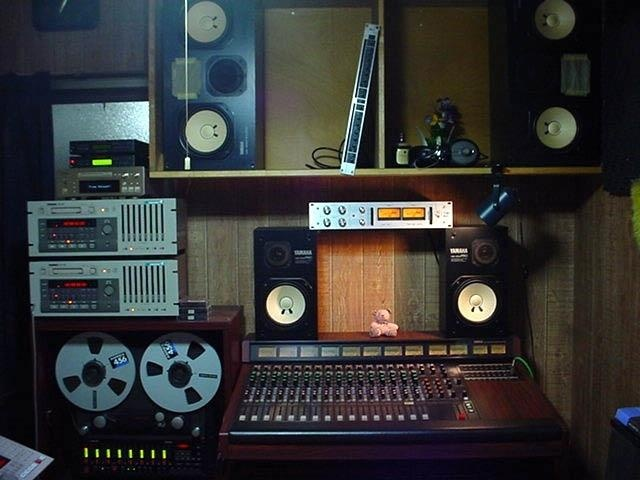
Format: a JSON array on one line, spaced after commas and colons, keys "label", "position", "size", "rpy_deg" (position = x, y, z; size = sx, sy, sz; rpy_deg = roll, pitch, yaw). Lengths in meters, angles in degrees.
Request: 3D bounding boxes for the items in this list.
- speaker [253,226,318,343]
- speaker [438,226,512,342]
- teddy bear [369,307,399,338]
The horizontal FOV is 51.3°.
[{"label": "speaker", "position": [-0.179, 0.202, 3.450], "size": [0.329, 0.324, 0.617], "rpy_deg": [-3, -77, -7]}, {"label": "speaker", "position": [0.769, 0.172, 3.446], "size": [0.350, 0.345, 0.585], "rpy_deg": [-7, -74, -10]}, {"label": "teddy bear", "position": [0.324, 0.440, 3.427], "size": [0.186, 0.196, 0.114], "rpy_deg": [3, -32, 1]}]
